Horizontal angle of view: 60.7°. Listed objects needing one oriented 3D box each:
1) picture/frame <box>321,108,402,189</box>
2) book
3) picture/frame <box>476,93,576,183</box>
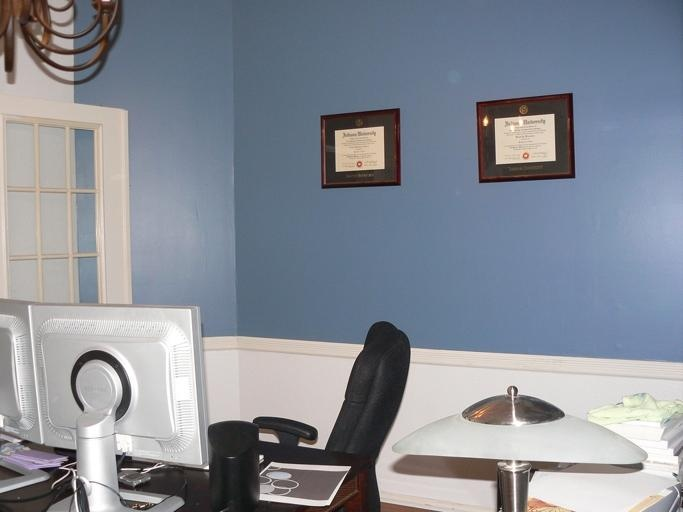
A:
[{"bbox_3d":[0.145,-0.682,3.666,0.499,0.471,0.053,-1,2,18],"label":"picture/frame"},{"bbox_3d":[-0.130,0.813,2.077,0.208,0.028,0.201,-1,6,12],"label":"book"},{"bbox_3d":[1.070,-0.672,3.306,0.505,0.459,0.053,-2,1,15],"label":"picture/frame"}]
